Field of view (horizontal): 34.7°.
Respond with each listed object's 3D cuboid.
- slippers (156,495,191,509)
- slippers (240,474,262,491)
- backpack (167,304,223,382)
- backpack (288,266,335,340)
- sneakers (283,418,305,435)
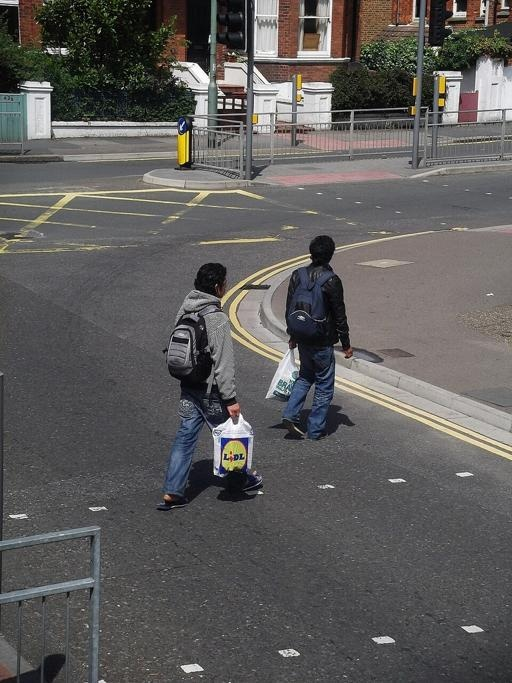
[{"bbox_3d":[-0.533,1.039,5.315,0.205,0.078,0.075,-7,15,-35],"label":"slippers"},{"bbox_3d":[-0.031,0.971,5.621,0.070,0.073,0.202,0,-3,27],"label":"slippers"},{"bbox_3d":[-0.408,0.023,5.250,0.292,0.522,0.331,6,12,19],"label":"backpack"},{"bbox_3d":[0.455,-0.309,6.644,0.374,0.546,0.360,-19,29,-39],"label":"backpack"},{"bbox_3d":[0.308,0.688,6.749,0.100,0.097,0.241,-9,-38,36],"label":"sneakers"}]
